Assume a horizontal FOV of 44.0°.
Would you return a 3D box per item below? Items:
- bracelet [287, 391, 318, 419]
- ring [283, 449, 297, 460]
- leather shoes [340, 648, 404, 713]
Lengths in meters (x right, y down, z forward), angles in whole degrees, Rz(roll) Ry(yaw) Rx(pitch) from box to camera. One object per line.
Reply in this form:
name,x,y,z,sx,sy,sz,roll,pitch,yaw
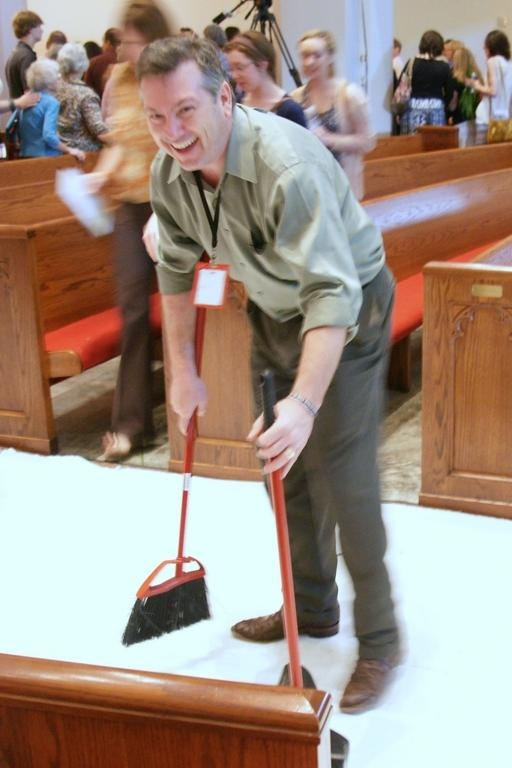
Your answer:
bracelet,0.070,0.037,0.972,0.015,0.036,0.037,-43,-8,0
ring,0.051,0.100,0.937,0.006,0.022,0.015,18,17,42
leather shoes,0.291,0.710,1.557,0.063,0.080,0.201,-12,5,36
